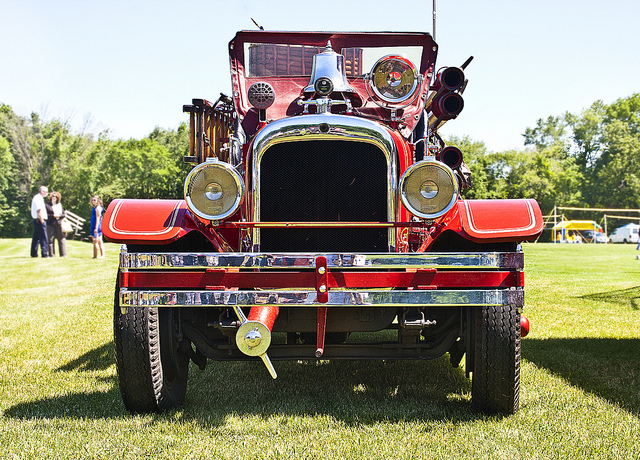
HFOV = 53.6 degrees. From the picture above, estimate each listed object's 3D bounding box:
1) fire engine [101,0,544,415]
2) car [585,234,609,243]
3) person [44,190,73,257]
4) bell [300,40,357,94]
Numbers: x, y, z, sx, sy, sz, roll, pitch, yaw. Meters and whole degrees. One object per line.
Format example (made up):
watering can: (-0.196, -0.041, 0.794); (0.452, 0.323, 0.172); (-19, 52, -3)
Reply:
fire engine: (0.183, -0.321, 6.712); (3.972, 3.875, 3.584); (1, 8, 10)
car: (18.965, 0.831, 43.577); (1.480, 0.809, 0.899); (-4, 3, -1)
person: (-7.213, -0.144, 17.252); (0.747, 1.991, 0.628); (-7, -17, -12)
bell: (0.102, -1.718, 7.202); (0.557, 0.641, 0.567); (-1, -1, -34)
